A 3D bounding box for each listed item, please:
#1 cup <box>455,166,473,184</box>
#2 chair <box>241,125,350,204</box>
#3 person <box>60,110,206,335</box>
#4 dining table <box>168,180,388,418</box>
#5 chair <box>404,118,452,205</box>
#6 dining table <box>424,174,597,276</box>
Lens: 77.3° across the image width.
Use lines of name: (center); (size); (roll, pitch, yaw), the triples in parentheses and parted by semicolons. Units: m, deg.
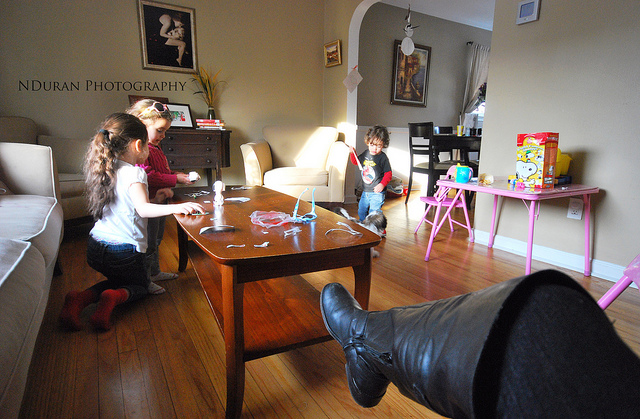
cup: (1.069, -0.251, 3.013); (0.139, 0.146, 0.092); (-1, 6, -3)
chair: (-0.273, -0.386, 4.478); (1.048, 1.020, 0.914); (-1, -6, -4)
person: (-1.085, 0.059, 2.375); (0.557, 1.178, 0.747); (8, 12, 15)
dining table: (-0.252, 0.480, 2.035); (0.465, 0.419, 0.991); (-7, 21, -22)
chair: (1.349, -0.542, 4.738); (0.646, 0.930, 0.682); (4, 9, 22)
dining table: (1.395, 0.083, 3.049); (1.201, 0.664, 0.738); (12, 19, 38)
